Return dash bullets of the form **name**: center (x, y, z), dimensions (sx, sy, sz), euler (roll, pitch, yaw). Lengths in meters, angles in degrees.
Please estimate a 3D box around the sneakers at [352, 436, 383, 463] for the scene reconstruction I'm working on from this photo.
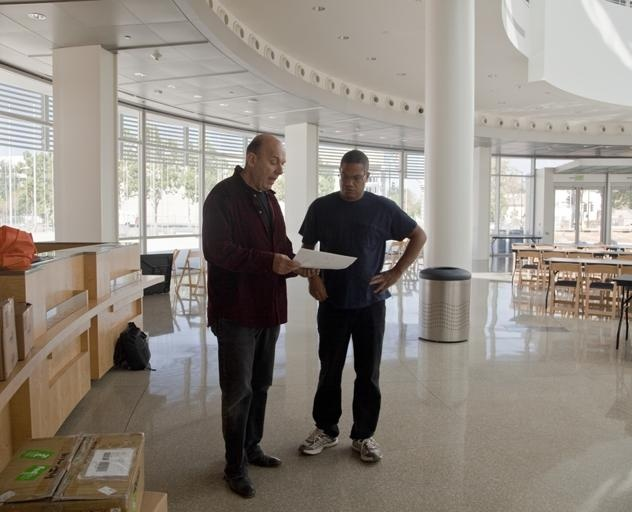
- **sneakers**: center (0.342, 1.269, 3.202), dimensions (0.093, 0.092, 0.193), euler (0, -4, -35)

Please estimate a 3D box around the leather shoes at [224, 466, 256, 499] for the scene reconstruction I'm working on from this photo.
- **leather shoes**: center (-0.454, 1.324, 2.867), dimensions (0.082, 0.106, 0.240), euler (-1, -2, -33)

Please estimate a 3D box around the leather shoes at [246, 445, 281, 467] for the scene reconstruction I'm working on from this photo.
- **leather shoes**: center (-0.342, 1.292, 3.151), dimensions (0.269, 0.124, 0.092), euler (-1, 2, 3)

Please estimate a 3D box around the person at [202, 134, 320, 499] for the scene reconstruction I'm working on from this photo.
- **person**: center (-0.381, 0.316, 2.934), dimensions (0.602, 2.078, 0.487), euler (-2, 6, -25)

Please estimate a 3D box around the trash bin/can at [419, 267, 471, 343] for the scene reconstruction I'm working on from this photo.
- **trash bin/can**: center (1.751, 0.615, 6.481), dimensions (0.613, 0.937, 0.572), euler (2, 9, 24)

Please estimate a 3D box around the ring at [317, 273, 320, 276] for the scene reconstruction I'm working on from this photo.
- **ring**: center (0.016, 0.117, 3.163), dimensions (0.015, 0.016, 0.014), euler (0, 2, 0)

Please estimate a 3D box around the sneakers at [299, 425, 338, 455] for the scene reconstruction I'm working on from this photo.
- **sneakers**: center (0.015, 1.262, 3.350), dimensions (0.277, 0.134, 0.108), euler (4, -4, -44)

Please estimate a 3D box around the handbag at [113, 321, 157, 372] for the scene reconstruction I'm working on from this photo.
- **handbag**: center (-1.879, 0.926, 5.068), dimensions (0.351, 0.450, 0.336), euler (1, 2, 12)
